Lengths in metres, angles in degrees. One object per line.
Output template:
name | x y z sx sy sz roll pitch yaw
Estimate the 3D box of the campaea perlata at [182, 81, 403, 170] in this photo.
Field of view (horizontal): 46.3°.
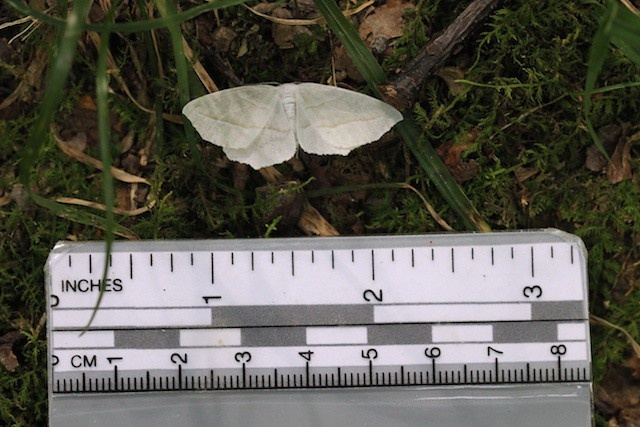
campaea perlata | -0.126 -0.398 3.182 0.739 0.383 0.091 0 10 2
